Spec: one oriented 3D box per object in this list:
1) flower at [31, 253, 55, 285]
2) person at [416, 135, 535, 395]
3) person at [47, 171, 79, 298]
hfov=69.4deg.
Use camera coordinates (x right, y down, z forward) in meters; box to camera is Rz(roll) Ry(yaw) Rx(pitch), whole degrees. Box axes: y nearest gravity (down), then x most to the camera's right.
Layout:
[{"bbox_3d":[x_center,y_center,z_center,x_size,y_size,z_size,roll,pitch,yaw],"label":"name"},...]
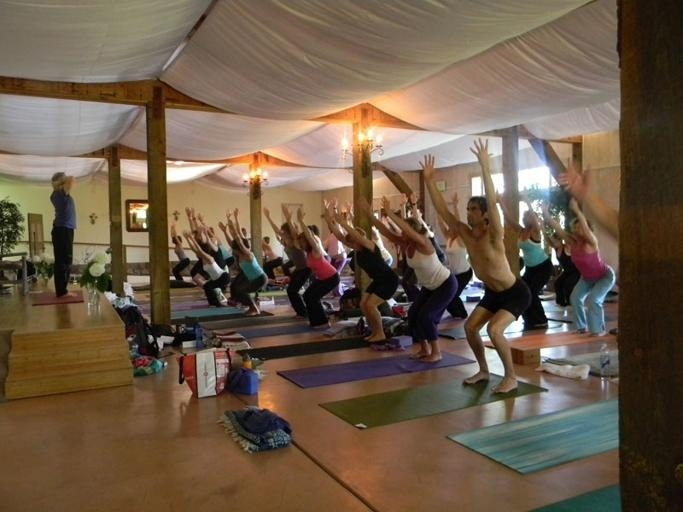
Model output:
[{"bbox_3d":[-4.680,0.213,7.679,0.472,0.520,0.514,2,-3,-36],"label":"flower"},{"bbox_3d":[1.126,0.099,4.174,0.819,1.954,0.790,-2,0,-44],"label":"person"},{"bbox_3d":[-3.435,-0.254,6.061,0.257,1.541,0.648,-3,4,-30],"label":"person"}]
